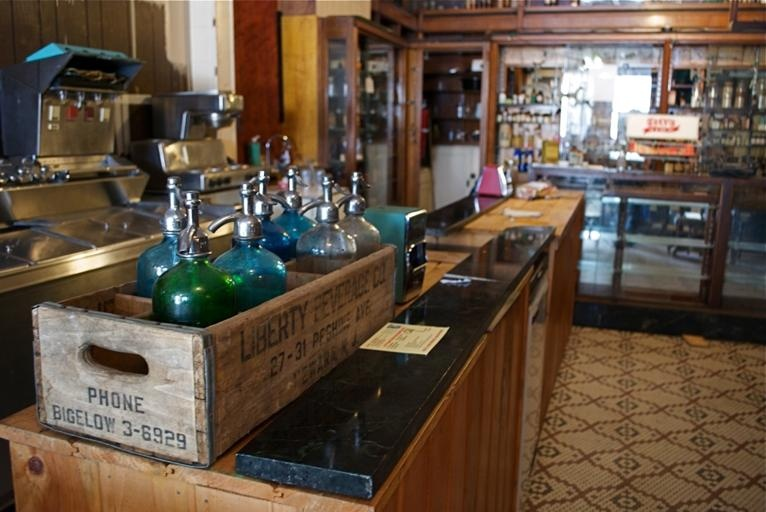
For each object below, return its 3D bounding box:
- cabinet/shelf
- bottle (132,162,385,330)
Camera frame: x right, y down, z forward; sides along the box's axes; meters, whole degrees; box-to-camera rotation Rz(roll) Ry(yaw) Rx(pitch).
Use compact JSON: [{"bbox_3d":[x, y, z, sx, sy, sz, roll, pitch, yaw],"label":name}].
[{"bbox_3d":[0.049,-1.621,6.666,0.747,2.212,2.386,3,9,21],"label":"cabinet/shelf"},{"bbox_3d":[-0.286,0.022,1.588,0.188,0.363,0.492,9,14,34],"label":"bottle"}]
